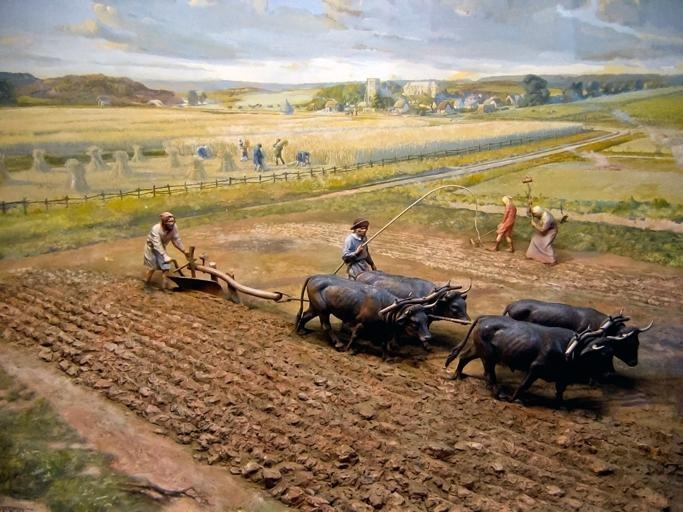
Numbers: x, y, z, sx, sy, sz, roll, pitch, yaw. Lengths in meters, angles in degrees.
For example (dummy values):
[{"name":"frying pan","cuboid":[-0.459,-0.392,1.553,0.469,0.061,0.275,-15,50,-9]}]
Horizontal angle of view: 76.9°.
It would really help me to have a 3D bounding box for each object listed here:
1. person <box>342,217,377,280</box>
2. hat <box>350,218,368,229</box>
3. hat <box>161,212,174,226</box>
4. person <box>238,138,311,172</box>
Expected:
[{"name":"person","cuboid":[0.363,-0.181,9.106,0.640,1.245,1.173,1,13,4]},{"name":"hat","cuboid":[0.343,-0.670,8.753,0.283,0.102,0.302,2,-18,-45]},{"name":"hat","cuboid":[-3.988,-0.849,9.858,0.345,0.259,0.269,6,10,34]},{"name":"person","cuboid":[-2.768,-4.107,17.364,2.732,1.215,0.397,-3,15,-13]}]
